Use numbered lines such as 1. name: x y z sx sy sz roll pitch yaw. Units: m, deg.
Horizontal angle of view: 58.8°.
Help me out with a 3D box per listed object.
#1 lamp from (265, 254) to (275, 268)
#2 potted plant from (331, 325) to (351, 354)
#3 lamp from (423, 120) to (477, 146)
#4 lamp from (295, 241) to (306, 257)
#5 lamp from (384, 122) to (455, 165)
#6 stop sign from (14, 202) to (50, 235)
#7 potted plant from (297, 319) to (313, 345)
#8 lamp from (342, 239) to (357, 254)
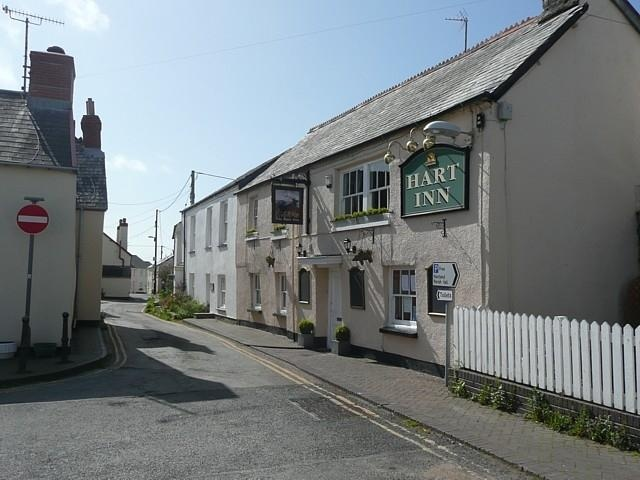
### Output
1. lamp: -1.816 0.776 20.934 0.348 0.444 0.384 4 -10 -19
2. potted plant: 0.674 2.961 16.902 0.567 1.009 0.663 2 -2 -16
3. lamp: 2.840 -2.405 13.023 1.004 0.504 1.297 3 3 44
4. lamp: -0.650 0.338 18.920 0.323 0.561 0.366 -2 0 4
5. lamp: 2.476 -2.388 13.291 0.766 0.765 1.488 2 -8 -43
6. stop sign: -7.071 -0.529 14.010 0.661 0.104 0.873 1 -53 -33
7. potted plant: -0.471 2.990 18.173 0.603 0.998 0.637 1 -5 -12
8. lamp: 0.861 0.196 16.503 0.334 0.575 0.392 4 -3 -5
